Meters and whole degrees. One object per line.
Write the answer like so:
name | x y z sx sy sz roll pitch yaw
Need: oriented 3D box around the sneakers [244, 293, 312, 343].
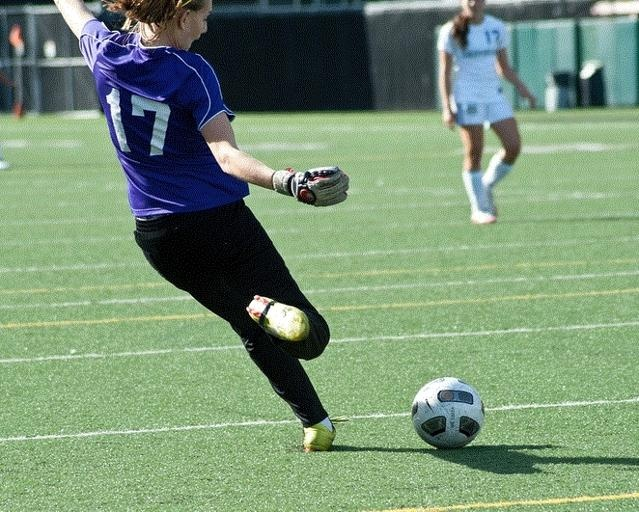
sneakers | -0.178 0.275 4.155 0.287 0.162 0.157 23 -25 17

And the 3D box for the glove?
glove | -0.039 -0.288 3.904 0.320 0.181 0.167 0 12 10

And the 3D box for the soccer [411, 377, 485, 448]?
soccer | 0.631 0.776 4.664 0.331 0.344 0.324 0 -8 -4
